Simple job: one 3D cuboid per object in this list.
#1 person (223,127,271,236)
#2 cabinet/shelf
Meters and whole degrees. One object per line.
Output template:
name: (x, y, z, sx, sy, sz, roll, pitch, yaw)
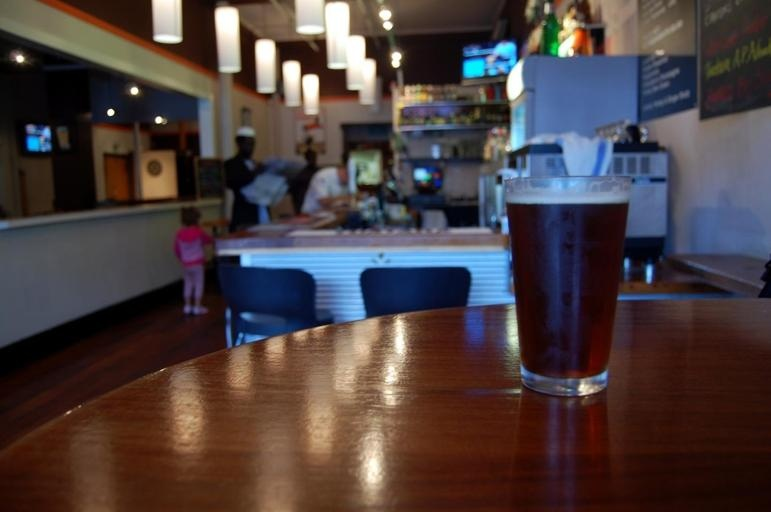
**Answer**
person: (-1.271, -0.669, 5.446, 0.328, 0.999, 2.083, -6, 8, -13)
cabinet/shelf: (0.753, -1.355, 6.808, 1.294, 0.665, 0.676, -3, 8, 0)
